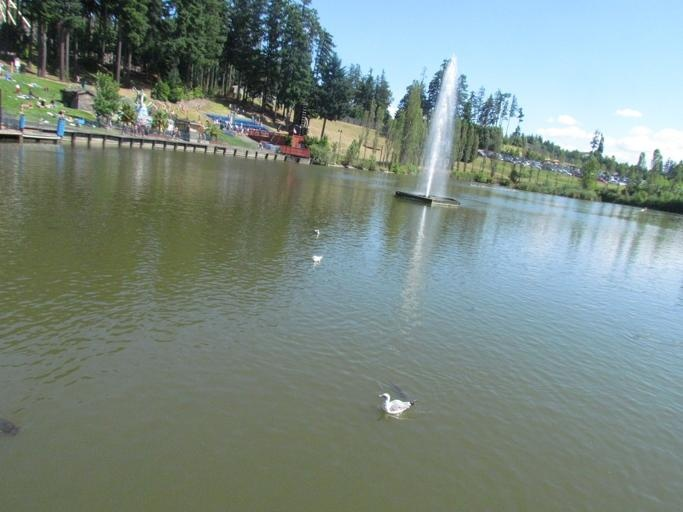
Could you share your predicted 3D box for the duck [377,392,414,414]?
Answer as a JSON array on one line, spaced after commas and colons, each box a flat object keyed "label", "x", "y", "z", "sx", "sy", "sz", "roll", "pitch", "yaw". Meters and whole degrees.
[{"label": "duck", "x": 1.515, "y": 4.191, "z": 14.888, "sx": 0.869, "sy": 0.683, "sz": 0.518, "roll": -4, "pitch": -14, "yaw": -6}]

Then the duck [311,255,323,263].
[{"label": "duck", "x": -1.252, "y": 0.130, "z": 26.016, "sx": 0.506, "sy": 0.386, "sz": 0.267, "roll": 8, "pitch": -4, "yaw": 45}]
